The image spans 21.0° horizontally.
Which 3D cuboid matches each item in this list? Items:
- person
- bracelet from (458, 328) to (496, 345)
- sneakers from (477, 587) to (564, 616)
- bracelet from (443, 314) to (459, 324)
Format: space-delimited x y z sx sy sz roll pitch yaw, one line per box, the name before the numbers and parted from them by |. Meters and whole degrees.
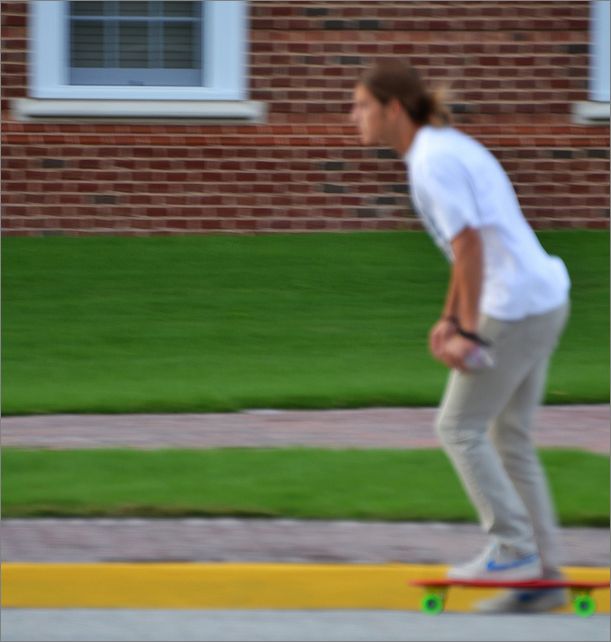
person | 0.694 0.027 6.909 0.825 2.164 0.418 -1 9 6
bracelet | 0.705 0.077 6.768 0.193 0.045 0.030 21 34 -27
sneakers | 0.943 1.181 7.012 0.415 0.131 0.111 1 -1 4
bracelet | 0.614 -0.002 6.843 0.033 0.014 0.045 29 8 41
